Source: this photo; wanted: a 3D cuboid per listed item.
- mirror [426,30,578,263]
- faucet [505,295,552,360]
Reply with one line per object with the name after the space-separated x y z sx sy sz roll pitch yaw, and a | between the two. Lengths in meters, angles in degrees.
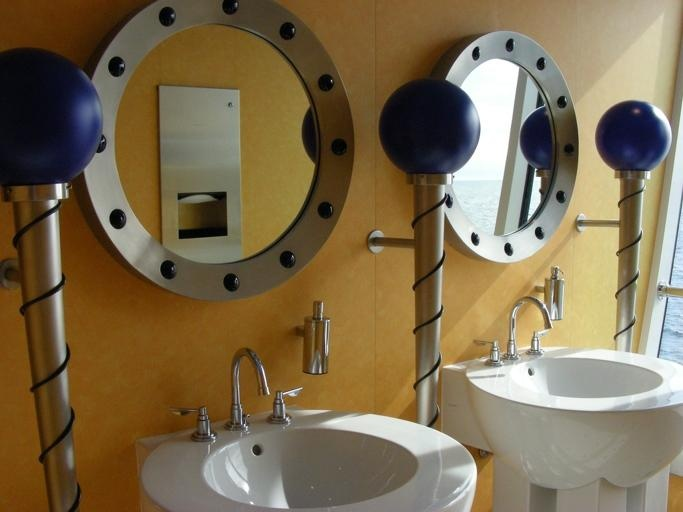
0.467 -0.326 1.959 0.603 0.864 0.061 -4 7 -40 | mirror
0.589 0.219 2.036 0.127 0.231 0.158 11 20 35 | faucet
